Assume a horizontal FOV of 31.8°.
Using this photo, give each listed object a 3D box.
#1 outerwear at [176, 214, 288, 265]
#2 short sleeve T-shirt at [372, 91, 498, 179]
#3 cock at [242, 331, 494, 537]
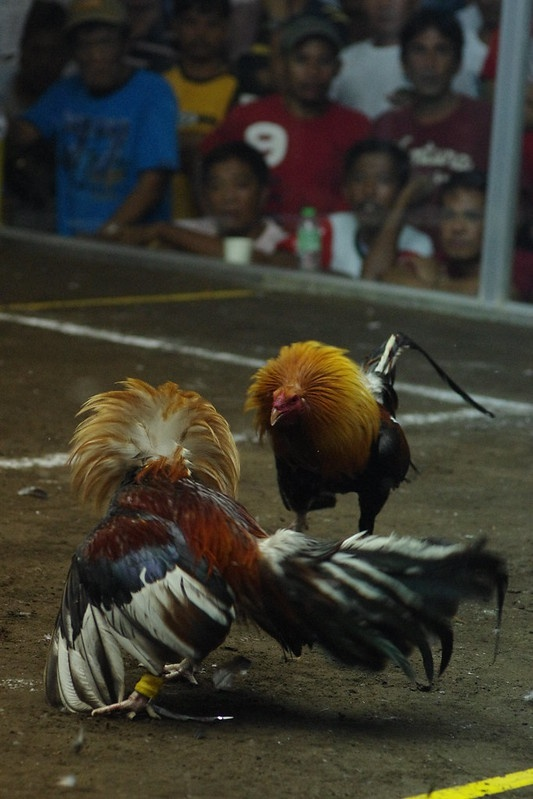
[{"bbox_3d":[-0.429,-2.253,12.871,1.202,0.979,0.625,-6,14,5],"label":"outerwear"},{"bbox_3d":[1.962,-3.010,10.788,1.089,0.655,0.970,16,54,29],"label":"short sleeve T-shirt"},{"bbox_3d":[0.471,0.159,4.435,0.652,0.836,1.967,10,12,26],"label":"cock"}]
